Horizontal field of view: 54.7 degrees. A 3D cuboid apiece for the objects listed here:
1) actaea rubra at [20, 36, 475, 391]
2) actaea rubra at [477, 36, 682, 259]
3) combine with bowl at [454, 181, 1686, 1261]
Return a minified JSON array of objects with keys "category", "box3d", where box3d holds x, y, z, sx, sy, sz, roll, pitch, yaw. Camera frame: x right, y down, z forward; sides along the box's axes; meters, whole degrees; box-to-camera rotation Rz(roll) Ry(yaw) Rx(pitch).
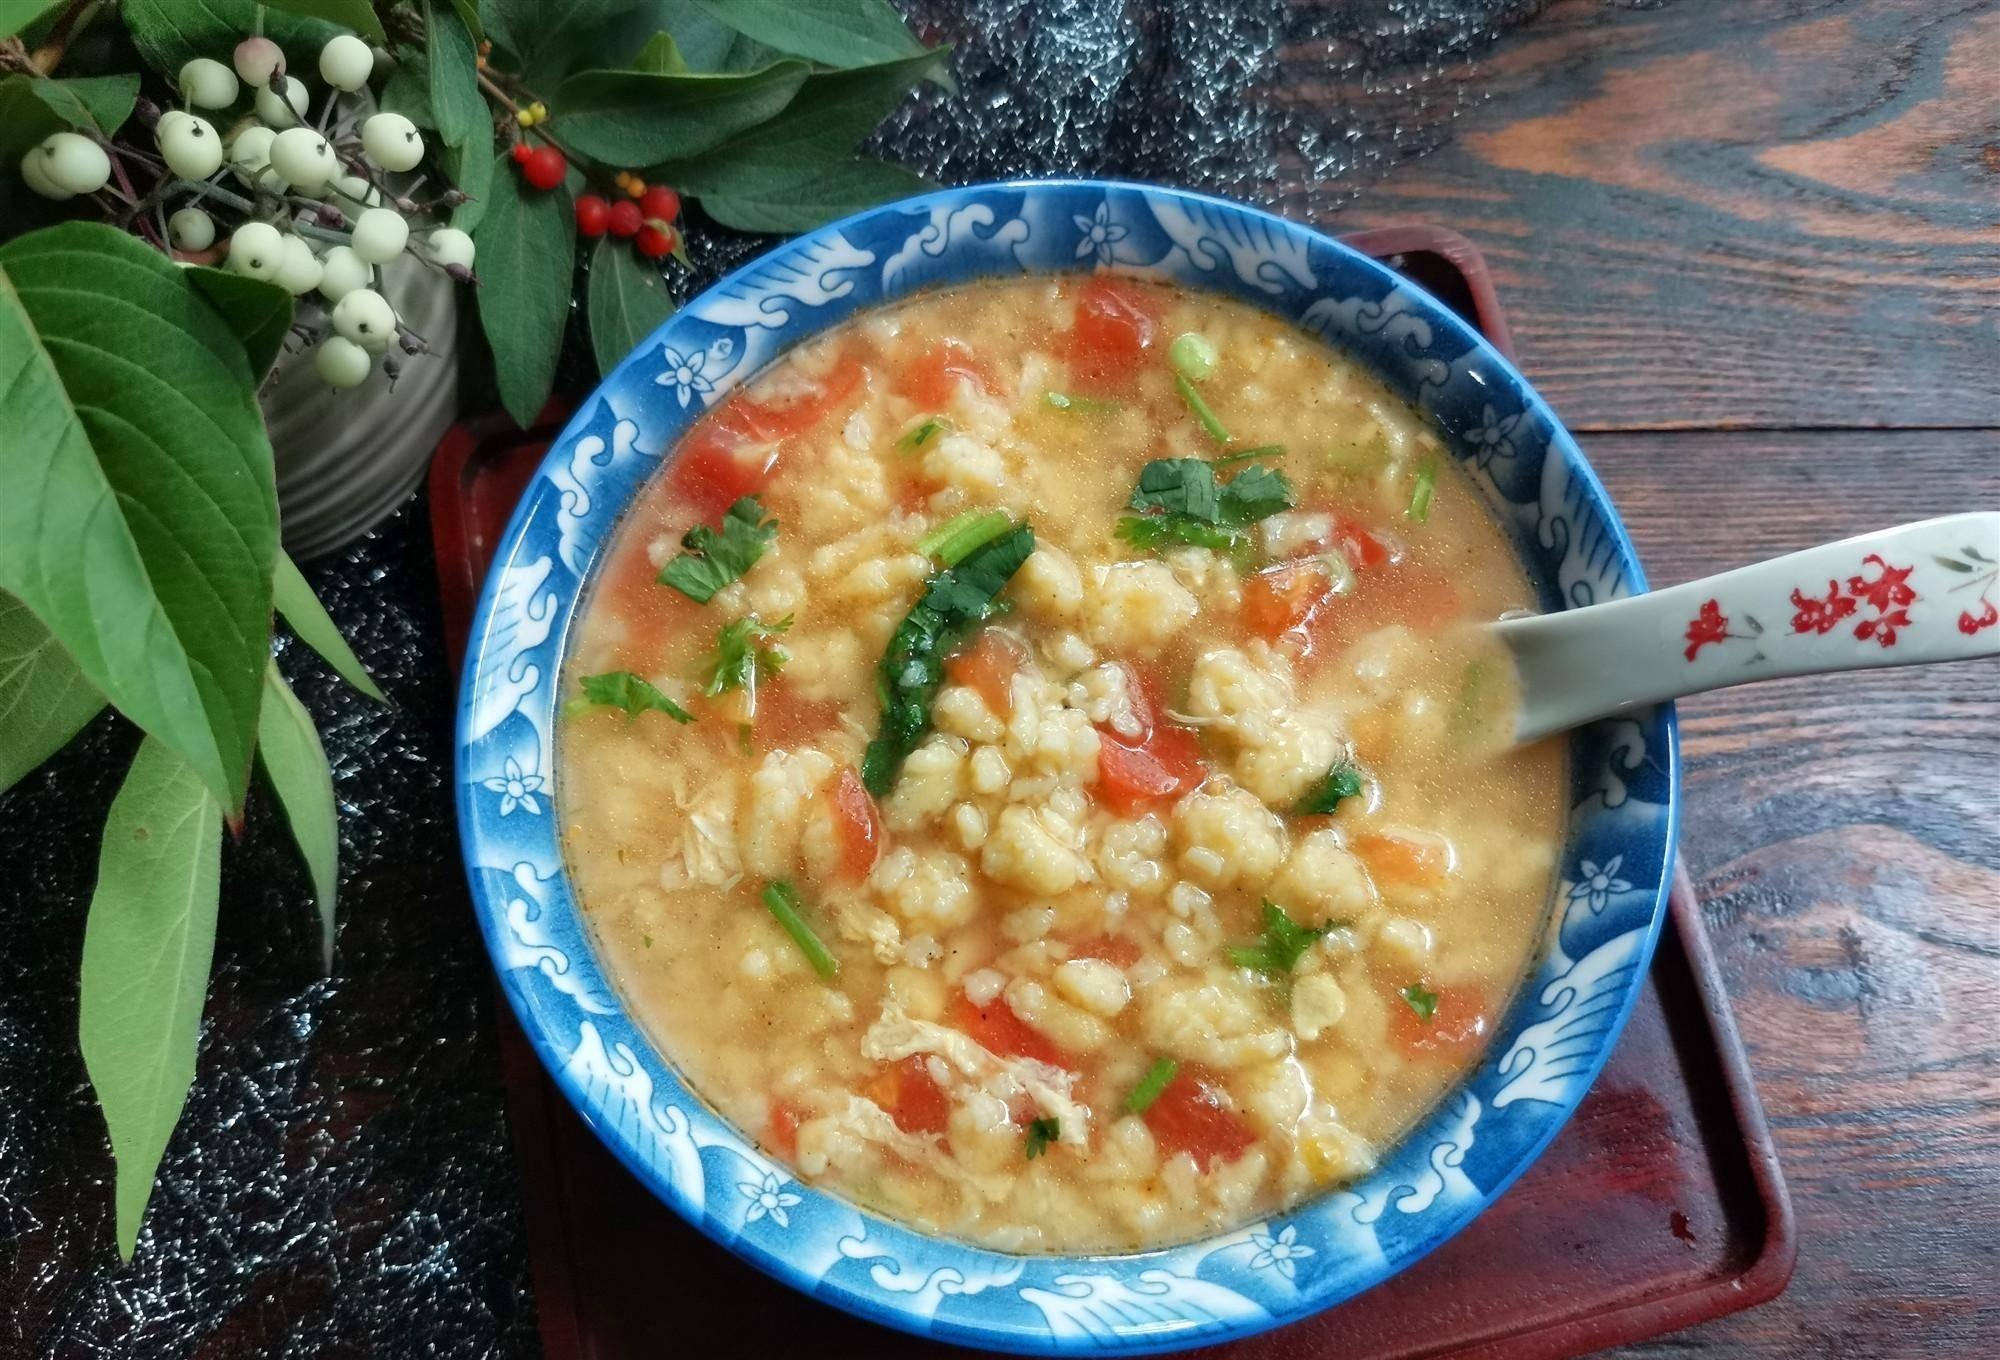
[{"category":"actaea rubra","box3d":[-1.103,-0.703,2.964,0.495,0.853,0.469,2,103,4]},{"category":"actaea rubra","box3d":[-0.723,-0.877,3.327,0.155,0.121,0.456,-44,105,0]},{"category":"combine with bowl","box3d":[0.088,0.109,3.344,1.551,0.983,1.821,12,87,19]}]
